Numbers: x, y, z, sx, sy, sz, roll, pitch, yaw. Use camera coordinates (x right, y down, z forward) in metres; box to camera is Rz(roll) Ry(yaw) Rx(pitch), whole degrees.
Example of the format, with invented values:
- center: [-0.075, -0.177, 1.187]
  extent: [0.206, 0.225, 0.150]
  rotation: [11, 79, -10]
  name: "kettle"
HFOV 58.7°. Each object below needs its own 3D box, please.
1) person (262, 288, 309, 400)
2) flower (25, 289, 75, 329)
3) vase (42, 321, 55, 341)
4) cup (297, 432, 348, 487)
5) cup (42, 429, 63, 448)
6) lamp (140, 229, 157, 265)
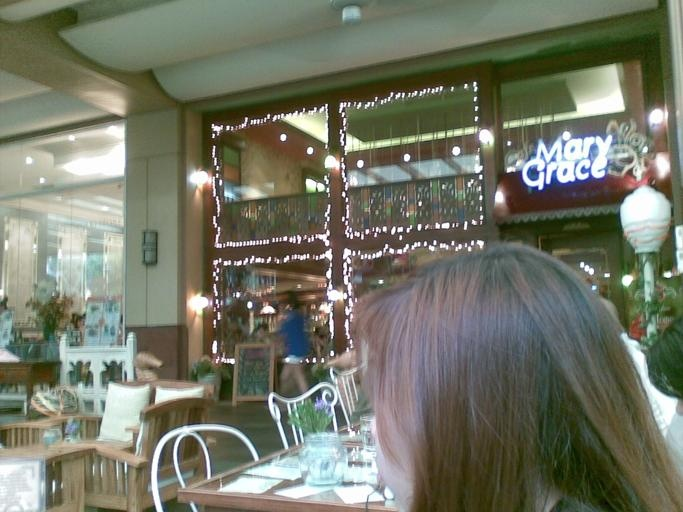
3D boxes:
- center: [-0.692, 1.228, 8.009]
  extent: [0.517, 1.606, 0.458]
  rotation: [2, 15, -6]
  name: "person"
- center: [-5.145, 0.959, 10.752]
  extent: [0.637, 0.838, 0.761]
  rotation: [-13, -16, 37]
  name: "flower"
- center: [-5.132, 1.294, 10.665]
  extent: [0.315, 0.345, 0.111]
  rotation: [-12, 3, 25]
  name: "vase"
- center: [-0.064, 0.719, 2.172]
  extent: [0.157, 0.170, 0.168]
  rotation: [0, -15, 0]
  name: "cup"
- center: [-1.954, 1.217, 4.121]
  extent: [0.084, 0.118, 0.117]
  rotation: [1, -17, 1]
  name: "cup"
- center: [-2.795, -0.139, 8.837]
  extent: [0.222, 0.483, 0.106]
  rotation: [2, -1, -8]
  name: "lamp"
